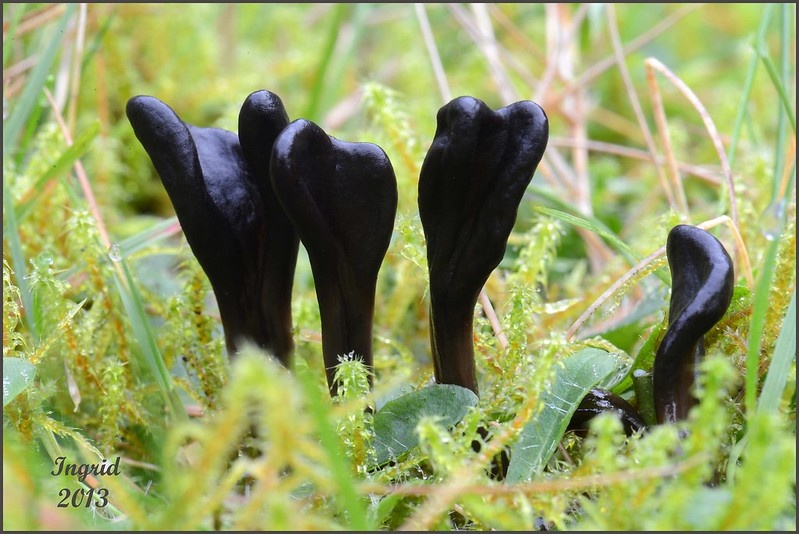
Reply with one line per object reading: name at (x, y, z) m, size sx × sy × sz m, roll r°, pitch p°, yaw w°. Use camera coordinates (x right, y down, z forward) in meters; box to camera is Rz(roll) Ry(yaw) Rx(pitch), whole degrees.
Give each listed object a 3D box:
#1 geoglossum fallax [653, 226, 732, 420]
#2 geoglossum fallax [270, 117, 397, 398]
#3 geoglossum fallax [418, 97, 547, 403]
geoglossum fallax at (0.373, 0.070, 1.030) m, size 0.089 × 0.245 × 0.076 m, roll 1°, pitch 0°, yaw 27°
geoglossum fallax at (-0.089, -0.014, 1.050) m, size 0.166 × 0.350 × 0.091 m, roll 1°, pitch 0°, yaw -16°
geoglossum fallax at (0.094, -0.022, 1.070) m, size 0.140 × 0.381 × 0.148 m, roll 1°, pitch 0°, yaw -25°
